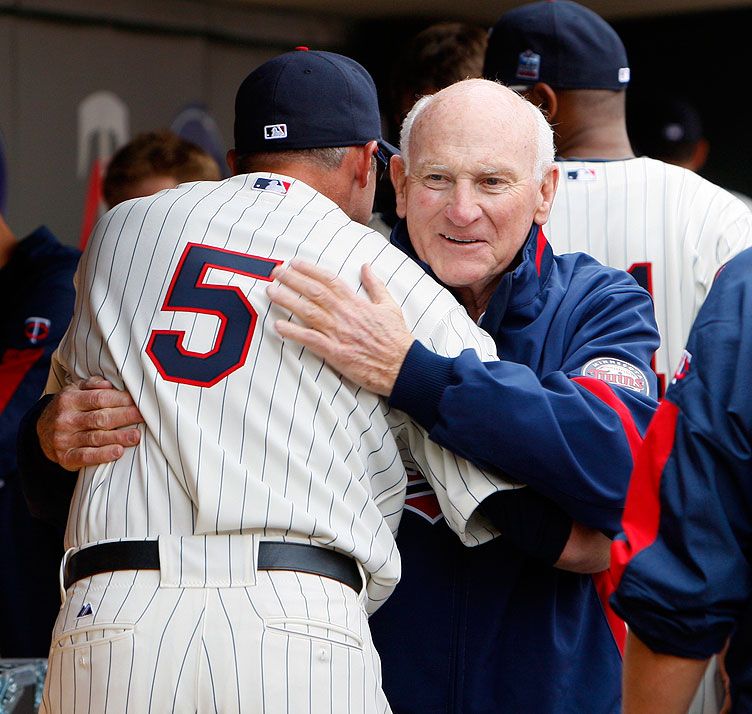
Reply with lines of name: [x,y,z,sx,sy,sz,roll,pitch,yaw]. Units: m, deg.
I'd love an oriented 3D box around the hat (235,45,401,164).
hat: [-0.146,-0.544,2.701,0.198,0.181,0.309,6,11,29]
